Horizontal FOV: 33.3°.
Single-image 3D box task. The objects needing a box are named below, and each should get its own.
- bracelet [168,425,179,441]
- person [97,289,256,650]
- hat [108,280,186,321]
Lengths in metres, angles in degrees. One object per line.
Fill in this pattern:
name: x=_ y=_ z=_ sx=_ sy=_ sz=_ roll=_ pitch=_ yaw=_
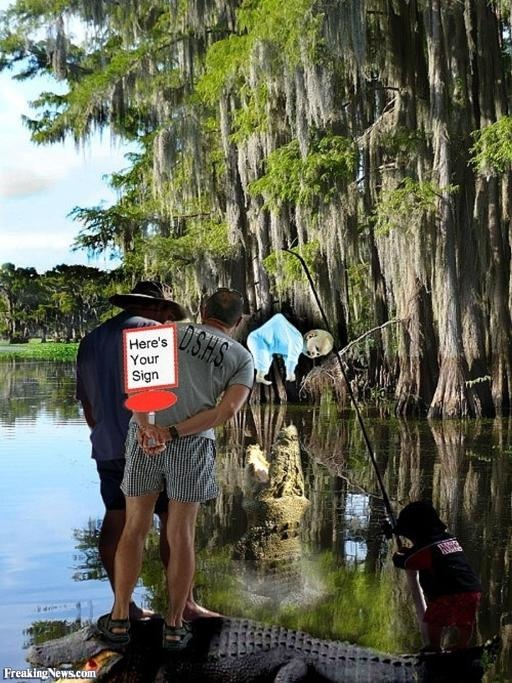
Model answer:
bracelet: x=-0.352 y=0.400 z=3.734 sx=0.037 sy=0.059 sz=0.019 roll=-5 pitch=-9 yaw=-11
person: x=-0.372 y=0.631 z=3.875 sx=0.750 sy=0.921 sz=0.366 roll=-3 pitch=2 yaw=-1
hat: x=-0.541 y=-0.218 z=4.499 sx=0.237 sy=0.098 sz=0.276 roll=7 pitch=-21 yaw=8
